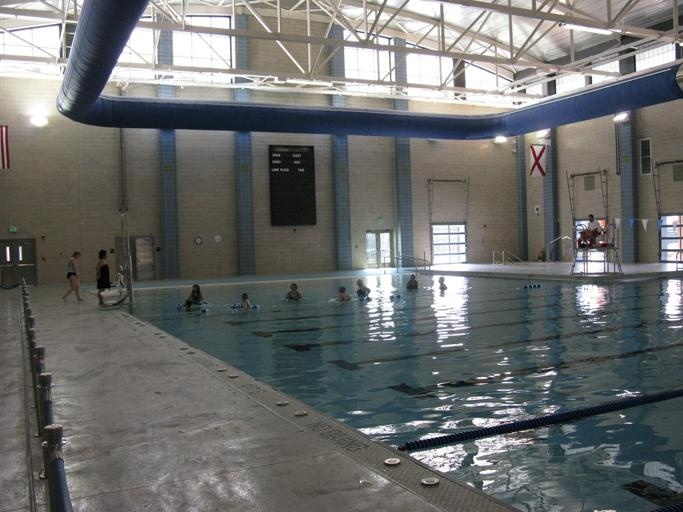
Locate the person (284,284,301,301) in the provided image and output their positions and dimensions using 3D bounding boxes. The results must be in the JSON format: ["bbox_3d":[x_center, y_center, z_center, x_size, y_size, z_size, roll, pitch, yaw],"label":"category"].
[{"bbox_3d":[-1.350,0.990,14.623,0.411,0.434,0.783,-2,-1,-8],"label":"person"}]

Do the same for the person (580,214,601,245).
[{"bbox_3d":[7.986,-0.856,16.792,0.624,1.063,1.665,-3,-1,25],"label":"person"}]
